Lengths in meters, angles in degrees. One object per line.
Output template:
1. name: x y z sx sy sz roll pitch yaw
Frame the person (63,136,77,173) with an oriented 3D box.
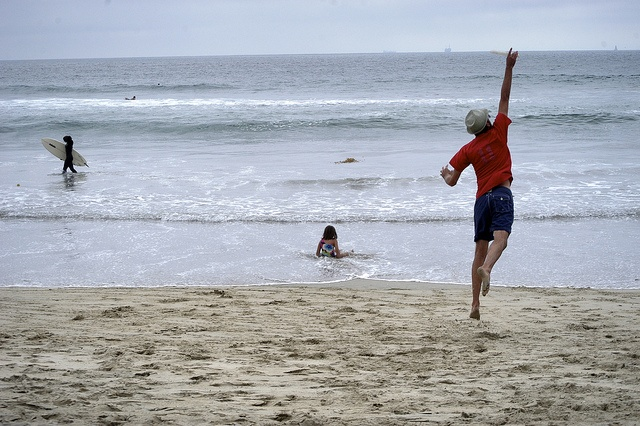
1. person: -7.999 -1.834 27.977 0.449 1.275 0.211 8 -37 -41

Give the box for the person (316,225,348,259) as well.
1. person: 0.316 0.698 20.885 0.901 0.642 0.478 4 4 17

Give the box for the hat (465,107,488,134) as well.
1. hat: 3.015 -1.787 17.105 0.450 0.474 0.254 -7 -22 33

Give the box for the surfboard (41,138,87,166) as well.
1. surfboard: -8.528 -1.983 29.064 2.533 0.637 0.371 26 19 39
